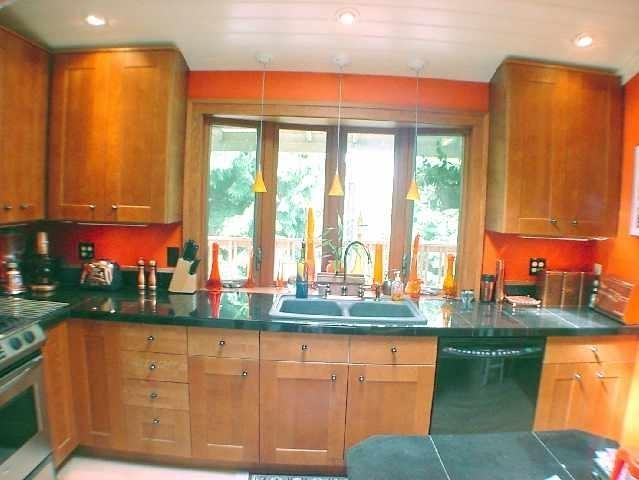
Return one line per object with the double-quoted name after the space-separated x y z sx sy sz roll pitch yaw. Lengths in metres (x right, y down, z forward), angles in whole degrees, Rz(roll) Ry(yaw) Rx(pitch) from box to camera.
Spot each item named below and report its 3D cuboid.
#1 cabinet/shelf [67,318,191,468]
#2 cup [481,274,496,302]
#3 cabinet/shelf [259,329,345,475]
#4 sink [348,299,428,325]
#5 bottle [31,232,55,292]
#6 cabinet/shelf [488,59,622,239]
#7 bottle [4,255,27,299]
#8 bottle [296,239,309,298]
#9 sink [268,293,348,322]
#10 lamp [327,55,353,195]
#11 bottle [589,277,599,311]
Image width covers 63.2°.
-1.210 1.008 3.803 0.882 0.893 0.640 1 6 16 "cabinet/shelf"
1.301 0.369 4.018 0.131 0.207 0.064 -1 6 -22 "cup"
-0.105 1.135 3.752 0.749 0.810 0.659 2 -1 -11 "cabinet/shelf"
0.461 0.526 3.678 0.519 0.115 0.468 1 5 1 "sink"
-2.082 0.153 3.925 0.198 0.418 0.184 4 8 0 "bottle"
1.732 -0.662 3.730 0.845 1.255 0.213 0 6 -12 "cabinet/shelf"
-2.220 0.247 3.789 0.136 0.279 0.248 -2 6 -31 "bottle"
-0.136 0.219 3.946 0.082 0.412 0.172 1 5 -3 "bottle"
-0.077 0.502 3.713 0.521 0.127 0.485 1 5 2 "sink"
0.148 -0.808 4.033 0.168 0.916 0.167 -10 18 -34 "lamp"
2.027 0.395 3.854 0.032 0.226 0.076 1 6 -8 "bottle"
